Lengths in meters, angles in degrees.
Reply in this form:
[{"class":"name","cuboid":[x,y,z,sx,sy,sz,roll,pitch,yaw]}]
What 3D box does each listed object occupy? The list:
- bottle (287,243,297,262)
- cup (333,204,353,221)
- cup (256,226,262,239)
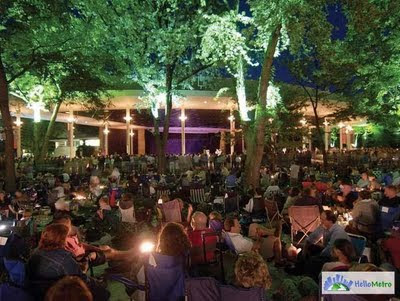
[{"class":"bottle","cuboid":[2.246,2.495,7.744,0.333,0.308,0.347,2,37,2]},{"class":"cup","cuboid":[4.121,1.797,9.110,0.458,0.556,0.381,-2,-8,-37]},{"class":"cup","cuboid":[1.433,2.000,7.654,0.131,0.227,0.395,0,-4,7]}]
